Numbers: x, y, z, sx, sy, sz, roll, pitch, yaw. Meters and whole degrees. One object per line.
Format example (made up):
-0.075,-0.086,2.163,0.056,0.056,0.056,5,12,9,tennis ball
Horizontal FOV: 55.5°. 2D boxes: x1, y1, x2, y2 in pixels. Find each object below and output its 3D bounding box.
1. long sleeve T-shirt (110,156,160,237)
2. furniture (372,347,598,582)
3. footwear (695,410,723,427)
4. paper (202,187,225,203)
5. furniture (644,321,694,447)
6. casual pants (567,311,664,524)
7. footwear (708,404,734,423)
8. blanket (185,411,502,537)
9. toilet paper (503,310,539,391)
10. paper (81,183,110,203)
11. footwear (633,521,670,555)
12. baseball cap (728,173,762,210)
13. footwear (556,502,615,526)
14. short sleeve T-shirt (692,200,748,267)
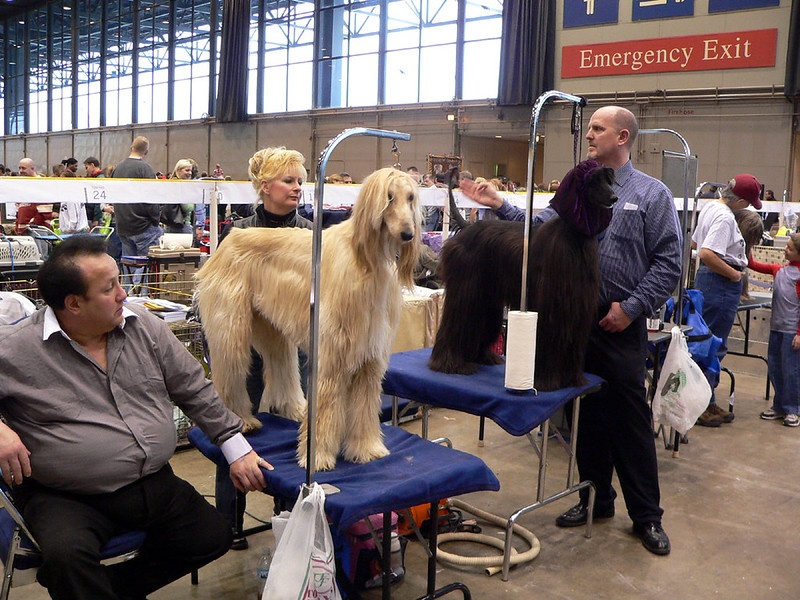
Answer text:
-2.457,-0.938,7.006,0.482,0.698,0.324,6,9,17,long sleeve T-shirt
0.330,0.734,3.749,0.794,0.539,0.546,6,-7,42,furniture
2.341,0.908,5.776,0.261,0.121,0.117,-2,3,28,footwear
-1.284,-0.703,5.192,0.155,0.169,0.121,0,0,-7,paper
1.705,0.575,4.678,0.234,0.733,0.289,2,-10,30,furniture
1.178,0.573,4.064,0.432,1.317,0.326,-1,14,3,casual pants
2.432,0.872,5.859,0.267,0.133,0.117,4,6,31,footwear
-0.110,0.723,3.296,0.830,0.168,0.995,-7,3,-14,blanket
0.561,0.233,3.501,0.143,0.374,0.130,2,13,3,toilet paper
-1.940,-0.676,4.802,0.106,0.113,0.011,-7,13,-27,paper
1.325,1.238,3.995,0.091,0.096,0.217,-8,10,-21,footwear
2.691,-0.807,5.842,0.287,0.175,0.206,13,33,-16,baseball cap
1.033,1.173,4.265,0.362,0.154,0.125,0,-1,-24,footwear
2.453,-0.498,5.765,0.263,0.421,0.463,-7,12,-10,short sleeve T-shirt
